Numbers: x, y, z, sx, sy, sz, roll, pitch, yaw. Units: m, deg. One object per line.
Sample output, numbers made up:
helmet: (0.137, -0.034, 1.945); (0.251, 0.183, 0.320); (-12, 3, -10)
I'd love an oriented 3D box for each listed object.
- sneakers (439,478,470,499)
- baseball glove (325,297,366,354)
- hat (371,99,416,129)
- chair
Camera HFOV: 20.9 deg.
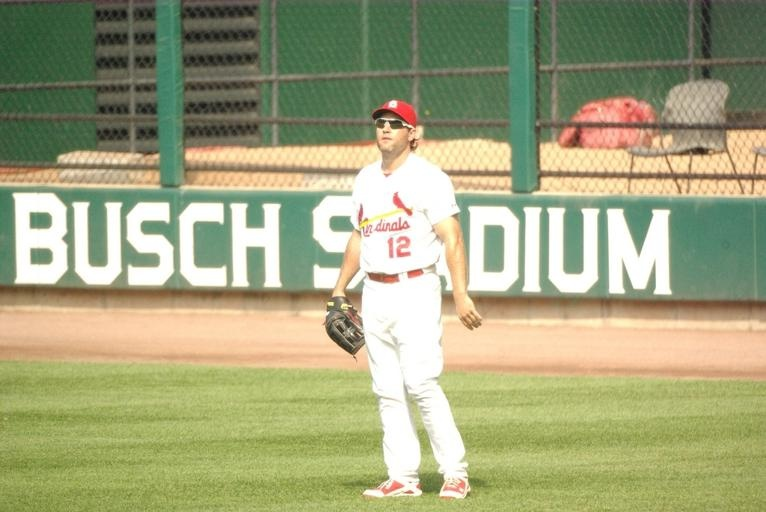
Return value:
sneakers: (0.839, 2.735, 24.280); (0.353, 0.161, 0.183); (7, -48, 0)
baseball glove: (-0.458, 0.830, 24.603); (0.462, 0.679, 0.259); (-30, 0, -9)
hat: (0.223, -1.637, 24.351); (0.307, 0.217, 0.429); (14, -5, 42)
chair: (4.290, -1.762, 29.290); (1.488, 2.259, 1.658); (0, -1, 45)
